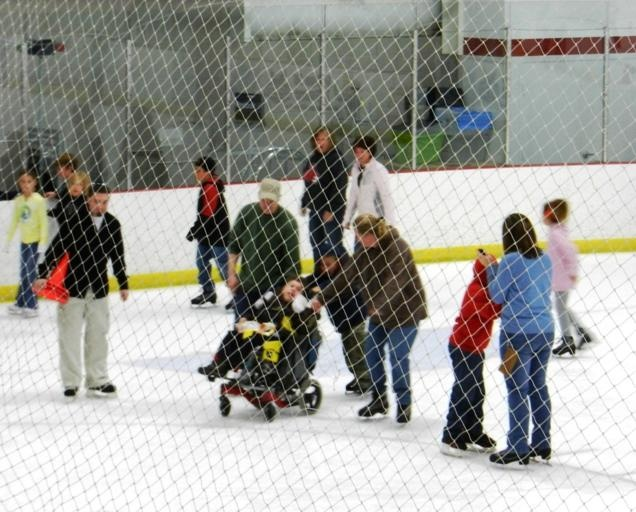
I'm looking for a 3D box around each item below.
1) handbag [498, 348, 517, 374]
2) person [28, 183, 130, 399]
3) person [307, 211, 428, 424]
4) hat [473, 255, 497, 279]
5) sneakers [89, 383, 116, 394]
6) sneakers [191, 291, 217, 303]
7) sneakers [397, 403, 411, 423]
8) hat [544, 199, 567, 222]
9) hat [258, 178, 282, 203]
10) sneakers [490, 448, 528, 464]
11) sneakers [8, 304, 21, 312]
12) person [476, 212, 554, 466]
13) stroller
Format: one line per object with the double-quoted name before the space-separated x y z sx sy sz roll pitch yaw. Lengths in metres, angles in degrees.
"handbag" 1.397 0.777 7.833 0.046 0.196 0.130 6 18 -18
"person" -2.040 0.300 9.324 0.733 1.856 0.294 -4 10 -18
"person" 0.507 0.500 8.761 0.804 1.710 0.420 8 13 40
"hat" 1.268 0.079 8.030 0.127 0.217 0.076 5 9 32
"sneakers" -1.899 1.176 9.444 0.235 0.129 0.099 0 2 5
"sneakers" -1.372 0.494 12.855 0.305 0.176 0.123 0 0 -15
"sneakers" 0.701 1.292 8.718 0.079 0.165 0.148 1 -3 13
"hat" 2.192 -0.422 9.821 0.160 0.272 0.241 -3 -11 11
"hat" -0.420 -0.562 9.260 0.185 0.218 0.163 -2 11 -5
"sneakers" 1.429 1.501 7.940 0.225 0.114 0.126 6 -3 6
"sneakers" -3.506 0.603 12.302 0.147 0.128 0.097 7 1 -5
"person" 1.494 0.608 7.968 0.538 1.843 0.429 1 10 10
"stroller" -0.300 0.861 9.036 0.796 1.475 0.842 -5 -10 43
